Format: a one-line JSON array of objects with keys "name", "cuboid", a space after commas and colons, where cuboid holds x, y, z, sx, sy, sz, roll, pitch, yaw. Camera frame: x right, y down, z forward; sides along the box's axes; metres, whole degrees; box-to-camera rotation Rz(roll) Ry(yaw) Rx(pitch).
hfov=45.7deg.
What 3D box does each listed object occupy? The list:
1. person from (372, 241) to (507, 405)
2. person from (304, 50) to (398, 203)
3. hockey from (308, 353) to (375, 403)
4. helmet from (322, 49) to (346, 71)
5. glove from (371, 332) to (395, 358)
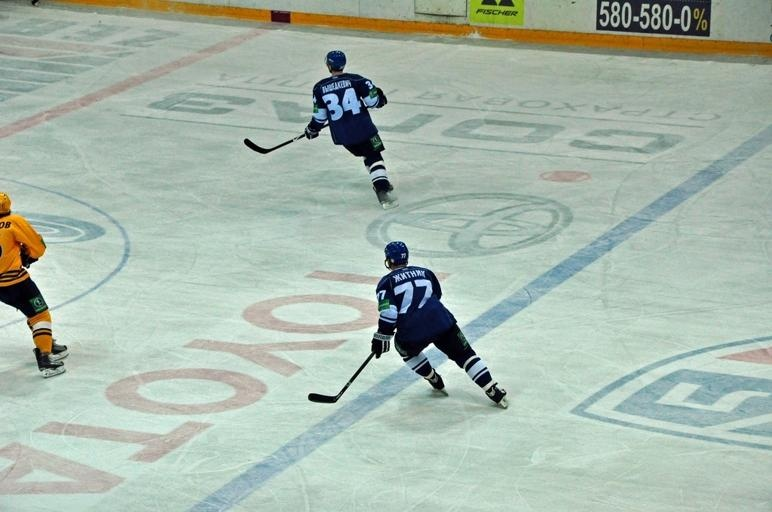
[{"name": "person", "cuboid": [0.412, 0.695, 7.982, 1.054, 1.236, 0.495, -1, 26, 4]}, {"name": "person", "cuboid": [-0.422, -1.655, 11.745, 0.792, 1.955, 1.284, -22, 30, -33]}, {"name": "hockey", "cuboid": [-0.417, 1.133, 8.358, 0.127, 0.183, 1.114, 44, 42, 21]}, {"name": "helmet", "cuboid": [-0.668, -2.507, 11.797, 0.223, 0.262, 0.386, -5, 19, -5]}, {"name": "glove", "cuboid": [-0.037, 0.759, 7.891, 0.292, 0.224, 0.092, 6, 35, -5]}]
